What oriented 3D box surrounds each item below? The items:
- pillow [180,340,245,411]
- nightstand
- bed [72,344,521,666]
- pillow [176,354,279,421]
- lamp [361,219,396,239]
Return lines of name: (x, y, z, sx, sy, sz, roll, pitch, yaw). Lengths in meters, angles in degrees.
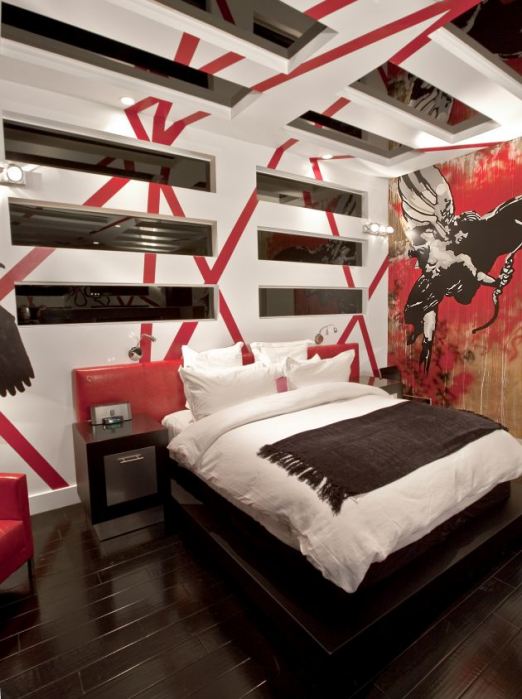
pillow: (-0.368, 0.204, 3.679, 0.145, 0.462, 0.472, -13, -13, 39)
nightstand: (-0.813, 0.791, 3.261, 0.619, 0.767, 0.600, -5, 2, -36)
bed: (0.094, 0.756, 2.625, 1.606, 0.579, 1.659, -9, 13, -37)
pillow: (-0.195, 0.339, 3.483, 0.286, 0.397, 0.915, -19, -13, 40)
lamp: (1.271, -1.273, 5.209, 0.205, 0.178, 0.459, 7, 13, 38)
